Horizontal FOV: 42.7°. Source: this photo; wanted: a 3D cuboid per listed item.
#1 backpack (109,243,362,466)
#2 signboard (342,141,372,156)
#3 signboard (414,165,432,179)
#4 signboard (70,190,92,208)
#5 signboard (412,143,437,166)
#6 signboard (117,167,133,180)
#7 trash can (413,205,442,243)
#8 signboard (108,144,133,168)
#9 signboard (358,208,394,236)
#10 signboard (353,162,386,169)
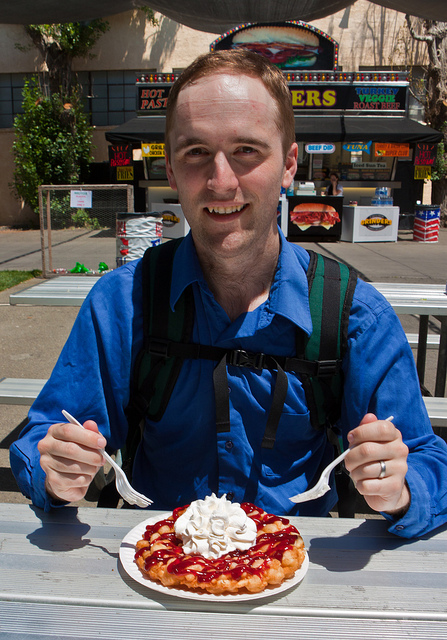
[{"bbox_3d":[0.123,0.119,1.789,0.684,0.586,0.382,-1,7,6],"label":"backpack"},{"bbox_3d":[4.013,-5.239,17.294,0.844,0.314,0.466,1,7,-2],"label":"signboard"},{"bbox_3d":[6.465,-4.818,18.668,0.488,0.391,0.070,2,6,1],"label":"signboard"},{"bbox_3d":[-2.385,-2.016,9.610,0.324,0.278,0.103,0,5,-8],"label":"signboard"},{"bbox_3d":[6.438,-5.287,18.390,0.660,0.673,0.600,3,8,13],"label":"signboard"},{"bbox_3d":[-3.309,-4.933,19.309,0.491,0.403,0.062,1,26,12],"label":"signboard"},{"bbox_3d":[6.077,-2.860,17.160,0.739,1.128,0.738,4,8,16],"label":"trash can"},{"bbox_3d":[-3.381,-5.428,18.996,1.061,0.965,0.137,5,22,16],"label":"signboard"},{"bbox_3d":[4.473,-2.890,17.163,1.412,0.968,0.732,-1,8,-5],"label":"signboard"},{"bbox_3d":[5.152,-5.439,20.250,1.101,0.211,0.251,3,7,12],"label":"signboard"}]
